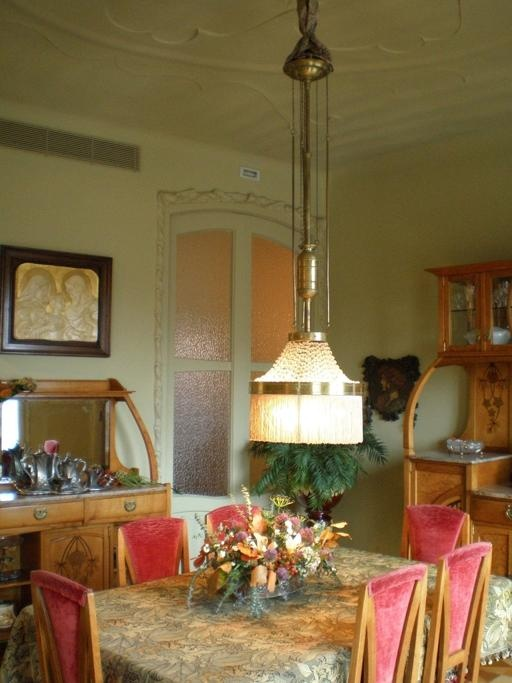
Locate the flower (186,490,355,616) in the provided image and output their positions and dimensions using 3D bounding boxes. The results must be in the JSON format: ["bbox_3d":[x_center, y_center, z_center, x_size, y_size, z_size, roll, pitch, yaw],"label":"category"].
[{"bbox_3d":[-0.055,0.675,2.161,0.507,0.338,0.562,0,-2,31],"label":"flower"}]

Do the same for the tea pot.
[{"bbox_3d":[-1.197,0.775,3.665,0.525,0.209,0.247,11,-12,-33],"label":"tea pot"}]

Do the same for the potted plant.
[{"bbox_3d":[0.571,0.842,5.057,0.846,0.962,0.900,-3,-5,26],"label":"potted plant"}]

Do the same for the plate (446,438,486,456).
[{"bbox_3d":[1.438,0.723,4.152,0.150,0.062,0.161,5,-9,-42],"label":"plate"}]
